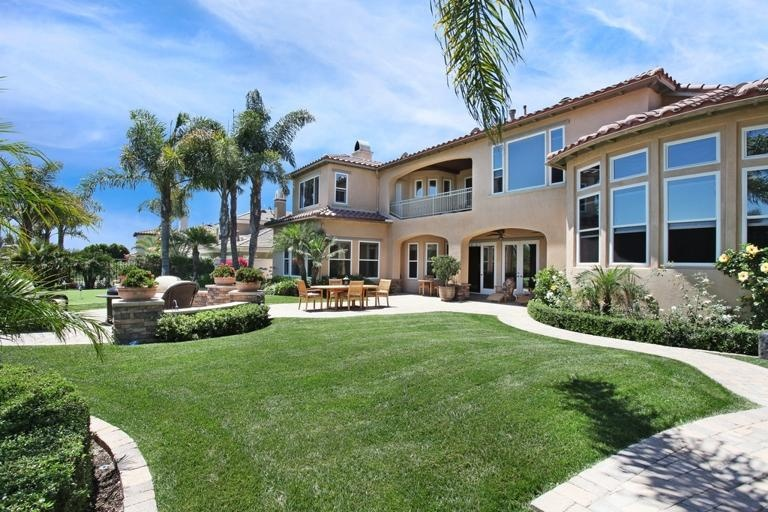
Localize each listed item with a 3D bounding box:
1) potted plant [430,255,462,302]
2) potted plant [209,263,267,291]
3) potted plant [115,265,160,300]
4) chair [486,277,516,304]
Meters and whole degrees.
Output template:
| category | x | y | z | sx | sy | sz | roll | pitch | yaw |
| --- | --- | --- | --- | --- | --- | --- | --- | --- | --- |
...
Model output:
| category | x | y | z | sx | sy | sz | roll | pitch | yaw |
| --- | --- | --- | --- | --- | --- | --- | --- | --- | --- |
| potted plant | 2.797 | 1.002 | 23.285 | 1.543 | 2.404 | 1.730 | -1 | -1 | -7 |
| potted plant | -5.073 | 0.782 | 18.877 | 0.778 | 0.996 | 2.588 | 3 | -7 | -36 |
| potted plant | -6.313 | 0.715 | 13.995 | 0.801 | 0.782 | 0.821 | -1 | -4 | -8 |
| chair | 4.904 | 1.425 | 22.762 | 1.035 | 1.102 | 2.402 | -2 | -6 | 14 |
